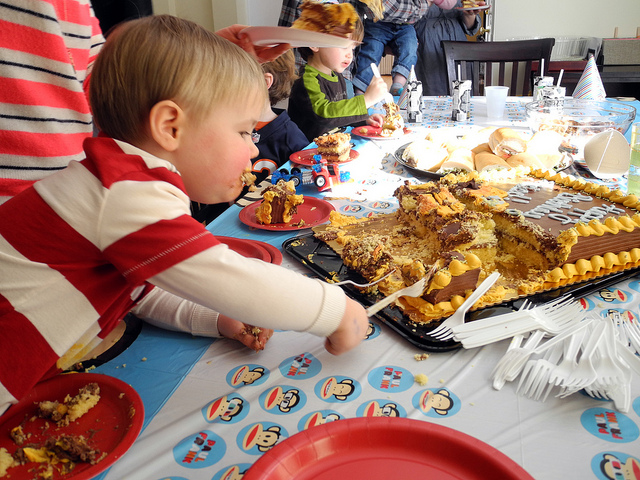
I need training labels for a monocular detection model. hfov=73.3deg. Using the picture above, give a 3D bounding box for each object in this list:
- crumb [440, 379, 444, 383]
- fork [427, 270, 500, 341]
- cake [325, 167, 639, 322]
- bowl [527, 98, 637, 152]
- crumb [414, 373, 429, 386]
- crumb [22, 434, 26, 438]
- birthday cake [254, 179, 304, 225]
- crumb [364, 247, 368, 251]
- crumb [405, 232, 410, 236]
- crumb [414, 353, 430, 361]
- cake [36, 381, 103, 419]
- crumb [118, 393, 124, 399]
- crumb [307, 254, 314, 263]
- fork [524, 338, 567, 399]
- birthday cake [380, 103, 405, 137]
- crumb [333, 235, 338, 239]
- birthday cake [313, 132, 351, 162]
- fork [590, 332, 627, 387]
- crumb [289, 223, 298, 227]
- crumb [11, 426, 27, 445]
[{"bbox_3d":[0.283,0.329,0.999,0.006,0.003,0.006,7,13,36],"label":"crumb"},{"bbox_3d":[0.378,0.181,1.157,0.303,0.033,0.045,-32,29,-27],"label":"fork"},{"bbox_3d":[0.570,-0.014,1.471,0.848,0.127,0.591,-8,24,-10],"label":"cake"},{"bbox_3d":[1.390,-0.616,2.307,0.588,0.207,0.560,-2,21,1],"label":"bowl"},{"bbox_3d":[0.235,0.324,1.000,0.028,0.008,0.024,3,17,11],"label":"crumb"},{"bbox_3d":[-0.640,0.426,0.931,0.005,0.002,0.008,-5,17,-34],"label":"crumb"},{"bbox_3d":[-0.157,-0.163,1.780,0.189,0.121,0.267,7,27,15],"label":"birthday cake"},{"bbox_3d":[0.152,0.030,1.422,0.010,0.002,0.009,-5,7,-13],"label":"crumb"},{"bbox_3d":[0.328,-0.024,1.624,0.014,0.002,0.011,-5,23,-4],"label":"crumb"},{"bbox_3d":[0.249,0.287,1.064,0.020,0.005,0.020,19,33,40],"label":"crumb"},{"bbox_3d":[-0.563,0.376,0.978,0.144,0.054,0.068,-11,29,-20],"label":"cake"},{"bbox_3d":[-0.448,0.352,0.971,0.012,0.003,0.011,0,23,5],"label":"crumb"},{"bbox_3d":[-0.033,0.059,1.464,0.013,0.020,0.025,-5,8,35],"label":"crumb"},{"bbox_3d":[0.512,0.297,0.975,0.187,0.020,0.025,-35,44,-27],"label":"fork"},{"bbox_3d":[0.476,-0.784,2.847,0.108,0.216,0.186,-15,-11,7],"label":"birthday cake"},{"bbox_3d":[0.057,-0.012,1.575,0.013,0.009,0.022,7,27,15],"label":"crumb"},{"bbox_3d":[0.077,-0.522,2.405,0.196,0.129,0.213,-3,27,-3],"label":"birthday cake"},{"bbox_3d":[0.642,0.272,0.950,0.037,0.016,0.108,6,40,11],"label":"fork"},{"bbox_3d":[-0.103,-0.059,1.684,0.032,0.008,0.056,-1,25,-1],"label":"crumb"},{"bbox_3d":[-0.646,0.422,0.929,0.026,0.010,0.037,-28,52,-32],"label":"crumb"}]
